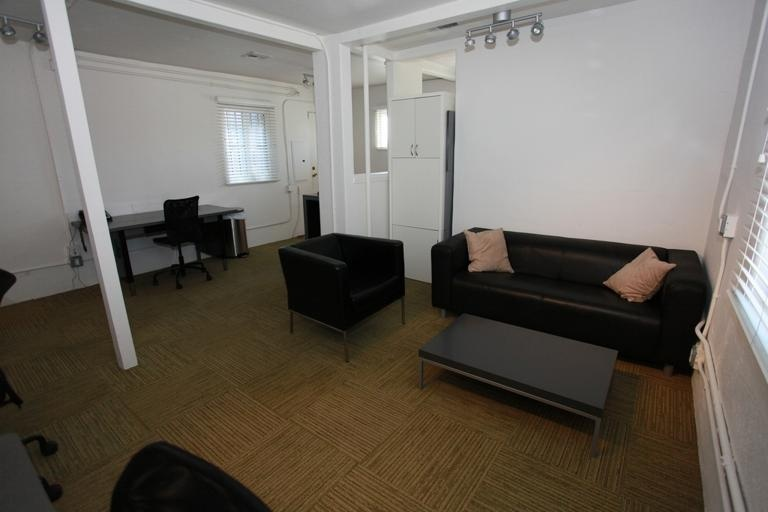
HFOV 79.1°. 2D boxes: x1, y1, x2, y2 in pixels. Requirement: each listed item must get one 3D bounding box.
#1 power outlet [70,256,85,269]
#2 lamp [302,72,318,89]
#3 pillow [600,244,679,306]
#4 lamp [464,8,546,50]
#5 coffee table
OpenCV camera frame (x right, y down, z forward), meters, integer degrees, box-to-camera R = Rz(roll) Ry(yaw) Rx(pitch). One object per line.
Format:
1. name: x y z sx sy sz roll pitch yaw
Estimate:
1. power outlet: -4.068 0.078 6.154 0.078 0.143 0.156 4 10 28
2. lamp: -1.316 -3.020 8.027 0.183 0.209 1.263 -5 20 -9
3. pillow: 2.545 0.194 4.645 0.469 0.399 0.425 -4 20 -6
4. lamp: 1.291 -2.501 5.163 0.916 0.347 0.762 6 21 18
5. coffee table: 1.217 1.066 4.190 1.486 0.634 0.751 9 22 26
